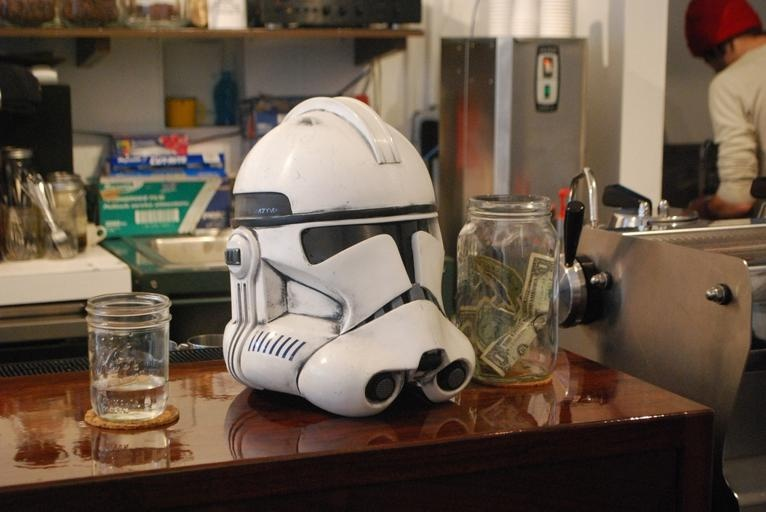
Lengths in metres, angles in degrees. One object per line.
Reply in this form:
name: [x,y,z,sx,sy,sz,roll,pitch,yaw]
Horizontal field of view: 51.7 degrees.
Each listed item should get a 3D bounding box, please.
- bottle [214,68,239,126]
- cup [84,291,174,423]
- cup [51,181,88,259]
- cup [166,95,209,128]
bottle: [-0.617,-0.627,3.102,0.104,0.211,0.045,-6,13,-11]
cup: [-0.425,0.184,1.320,0.132,0.209,0.128,-1,0,0]
cup: [-1.042,-0.136,2.599,0.093,0.269,0.180,-4,13,-3]
cup: [-0.762,-0.565,3.081,0.134,0.098,0.108,-4,6,-44]
